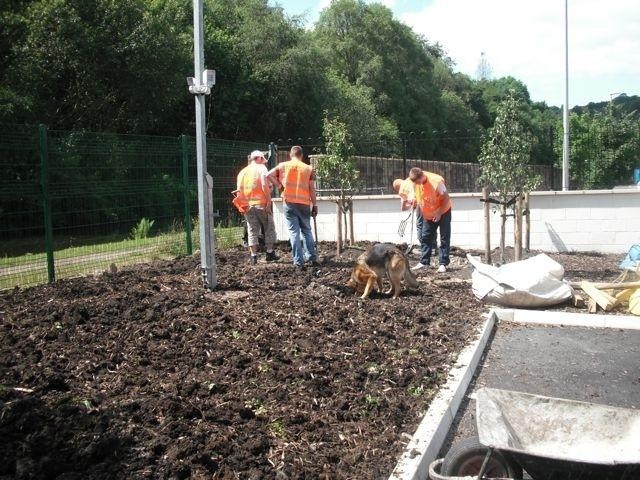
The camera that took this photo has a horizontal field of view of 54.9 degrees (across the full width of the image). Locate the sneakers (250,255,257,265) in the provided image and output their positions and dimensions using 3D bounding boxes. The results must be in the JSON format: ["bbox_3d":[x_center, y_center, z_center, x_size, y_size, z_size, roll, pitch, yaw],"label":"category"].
[{"bbox_3d":[-1.334,0.402,12.231,0.141,0.227,0.148,0,4,5],"label":"sneakers"}]

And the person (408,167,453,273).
[{"bbox_3d":[2.285,-0.394,12.395,0.770,2.133,0.864,-2,5,10],"label":"person"}]

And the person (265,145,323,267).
[{"bbox_3d":[-0.487,-0.678,12.251,0.843,2.355,1.332,-3,5,-2],"label":"person"}]

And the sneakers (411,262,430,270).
[{"bbox_3d":[2.116,0.561,12.891,0.438,0.217,0.170,0,-1,-32],"label":"sneakers"}]

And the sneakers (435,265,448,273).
[{"bbox_3d":[2.514,0.580,12.497,0.196,0.153,0.244,-3,6,11],"label":"sneakers"}]

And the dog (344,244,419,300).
[{"bbox_3d":[1.023,0.445,10.291,1.516,1.038,0.518,-1,-5,-39],"label":"dog"}]

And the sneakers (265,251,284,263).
[{"bbox_3d":[-0.950,0.311,12.898,0.348,0.309,0.150,-15,26,-20],"label":"sneakers"}]
